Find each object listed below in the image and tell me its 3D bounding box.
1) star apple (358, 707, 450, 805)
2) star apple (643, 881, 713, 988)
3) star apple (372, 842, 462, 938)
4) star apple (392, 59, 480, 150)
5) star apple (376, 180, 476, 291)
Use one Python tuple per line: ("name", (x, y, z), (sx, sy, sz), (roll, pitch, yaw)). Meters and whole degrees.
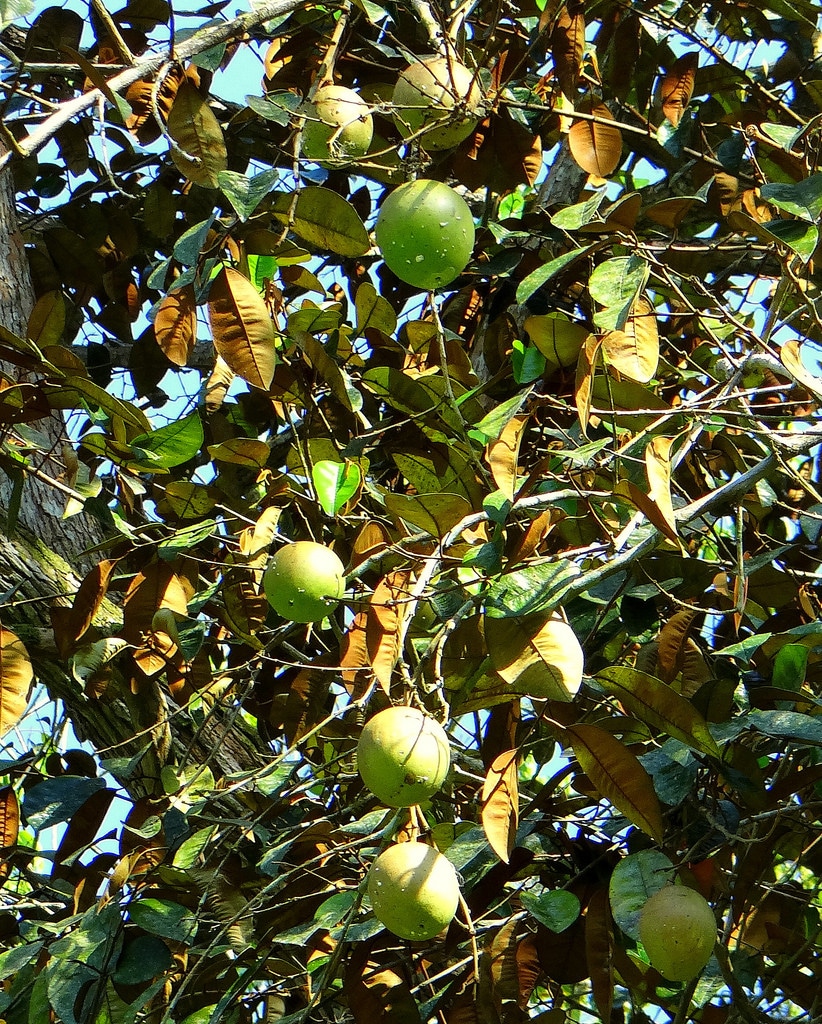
("star apple", (-0.011, 0.305, 1.570), (0.110, 0.123, 0.109), (6, 57, -8))
("star apple", (0.359, 0.576, 1.745), (0.127, 0.114, 0.117), (-6, 74, 13))
("star apple", (0.010, 0.471, 1.581), (0.112, 0.102, 0.100), (-11, 90, -34))
("star apple", (0.054, -0.691, 2.180), (0.204, 0.181, 0.174), (3, 22, 6))
("star apple", (0.031, -0.404, 1.900), (0.193, 0.161, 0.166), (1, 93, 4))
